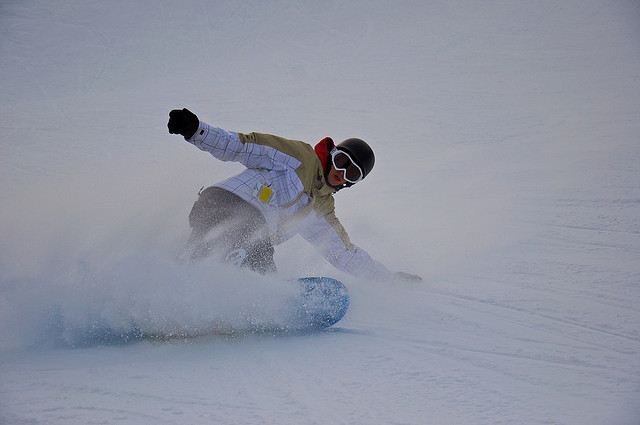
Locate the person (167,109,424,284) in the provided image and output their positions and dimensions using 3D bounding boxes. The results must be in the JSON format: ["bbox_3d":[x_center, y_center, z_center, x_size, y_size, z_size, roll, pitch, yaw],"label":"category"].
[{"bbox_3d":[-0.367,-0.147,6.522,2.034,0.941,1.349,3,-43,-11],"label":"person"}]
